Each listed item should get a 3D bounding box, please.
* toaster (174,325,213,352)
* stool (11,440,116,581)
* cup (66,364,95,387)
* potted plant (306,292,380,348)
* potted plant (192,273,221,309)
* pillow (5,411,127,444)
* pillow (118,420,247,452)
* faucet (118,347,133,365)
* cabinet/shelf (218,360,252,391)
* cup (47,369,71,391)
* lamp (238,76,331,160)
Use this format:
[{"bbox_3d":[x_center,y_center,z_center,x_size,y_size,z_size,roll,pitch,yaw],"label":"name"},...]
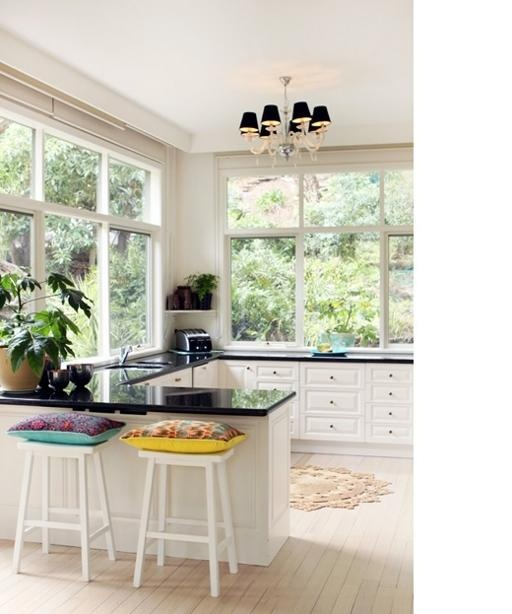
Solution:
[{"bbox_3d":[-0.680,0.355,5.706,0.323,0.185,0.228,-2,-2,34],"label":"toaster"},{"bbox_3d":[-1.031,1.001,2.893,0.569,0.677,0.456,0,2,12],"label":"stool"},{"bbox_3d":[-1.048,0.408,3.319,0.146,0.110,0.150,-1,-6,0],"label":"cup"},{"bbox_3d":[0.870,0.137,5.649,0.668,0.564,0.327,0,-36,10],"label":"potted plant"},{"bbox_3d":[-0.542,-0.165,5.806,0.413,0.397,0.361,0,-2,-3],"label":"potted plant"},{"bbox_3d":[-0.955,0.618,2.784,0.499,0.148,0.264,0,2,9],"label":"pillow"},{"bbox_3d":[-0.361,0.630,2.690,0.550,0.140,0.272,0,2,15],"label":"pillow"},{"bbox_3d":[-1.135,0.417,4.793,0.126,0.150,0.045,-4,-24,34],"label":"faucet"},{"bbox_3d":[-0.164,0.625,5.366,0.393,0.324,0.256,0,-2,20],"label":"cabinet/shelf"},{"bbox_3d":[-1.142,0.435,3.242,0.118,0.107,0.130,-1,-5,0],"label":"cup"},{"bbox_3d":[0.218,-1.347,4.028,0.711,0.486,0.613,-1,3,16],"label":"lamp"}]
